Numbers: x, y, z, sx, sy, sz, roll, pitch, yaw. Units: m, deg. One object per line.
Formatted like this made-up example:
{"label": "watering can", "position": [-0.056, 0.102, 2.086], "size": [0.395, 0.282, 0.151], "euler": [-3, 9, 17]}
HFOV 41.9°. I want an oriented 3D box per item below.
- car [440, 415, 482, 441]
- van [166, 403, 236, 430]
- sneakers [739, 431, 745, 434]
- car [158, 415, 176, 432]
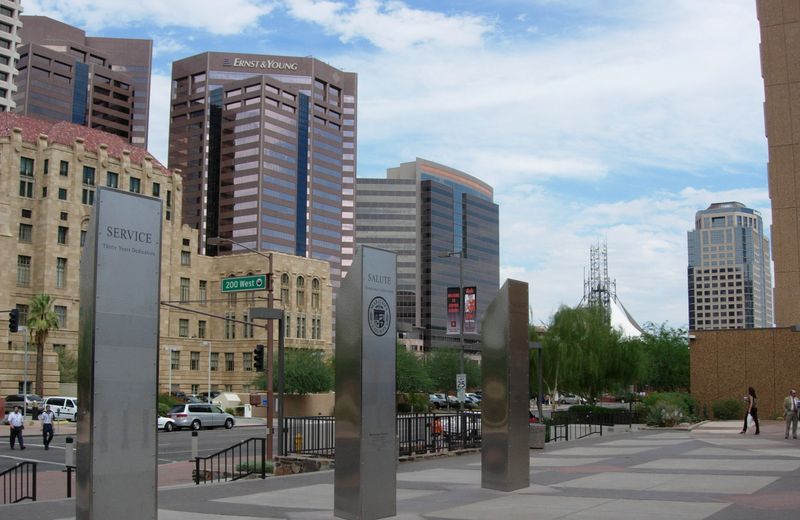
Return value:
{"label": "car", "position": [4.134, 11.362, 71.011], "size": [2.163, 1.222, 2.138], "euler": [5, -8, -28]}
{"label": "van", "position": [-18.595, 14.409, 96.399], "size": [4.932, 1.518, 2.264], "euler": [2, -4, -39]}
{"label": "sneakers", "position": [25.411, 12.751, 77.137], "size": [0.303, 0.276, 0.311], "euler": [5, -7, -19]}
{"label": "car", "position": [-21.113, 14.727, 93.850], "size": [0.723, 1.240, 2.201], "euler": [-5, -12, 20]}
